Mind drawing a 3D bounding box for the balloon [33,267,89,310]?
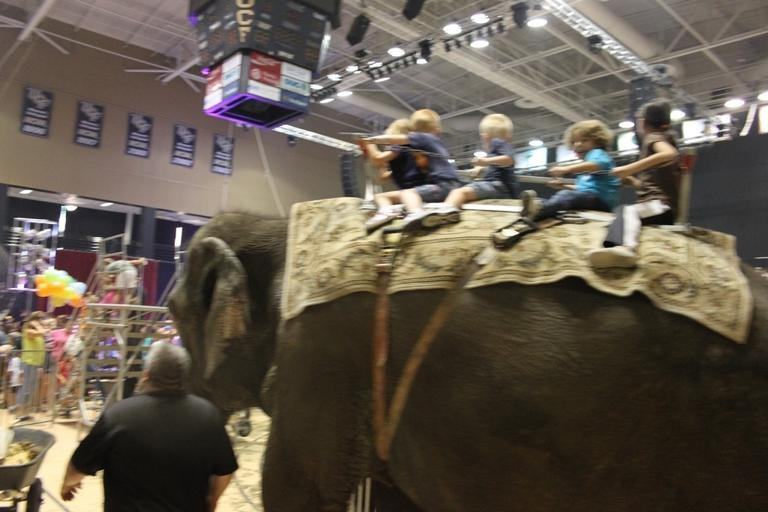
[{"bbox_3d":[-5.193,0.541,8.967,0.746,0.267,0.712,35,-19,2],"label":"balloon"}]

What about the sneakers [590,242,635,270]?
[{"bbox_3d":[0.854,0.006,2.166,0.181,0.064,0.089,1,20,12],"label":"sneakers"}]

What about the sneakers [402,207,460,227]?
[{"bbox_3d":[0.203,-0.159,2.469,0.296,0.072,0.110,0,24,-11],"label":"sneakers"}]

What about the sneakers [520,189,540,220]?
[{"bbox_3d":[0.615,-0.216,2.398,0.081,0.065,0.143,14,36,-5],"label":"sneakers"}]
